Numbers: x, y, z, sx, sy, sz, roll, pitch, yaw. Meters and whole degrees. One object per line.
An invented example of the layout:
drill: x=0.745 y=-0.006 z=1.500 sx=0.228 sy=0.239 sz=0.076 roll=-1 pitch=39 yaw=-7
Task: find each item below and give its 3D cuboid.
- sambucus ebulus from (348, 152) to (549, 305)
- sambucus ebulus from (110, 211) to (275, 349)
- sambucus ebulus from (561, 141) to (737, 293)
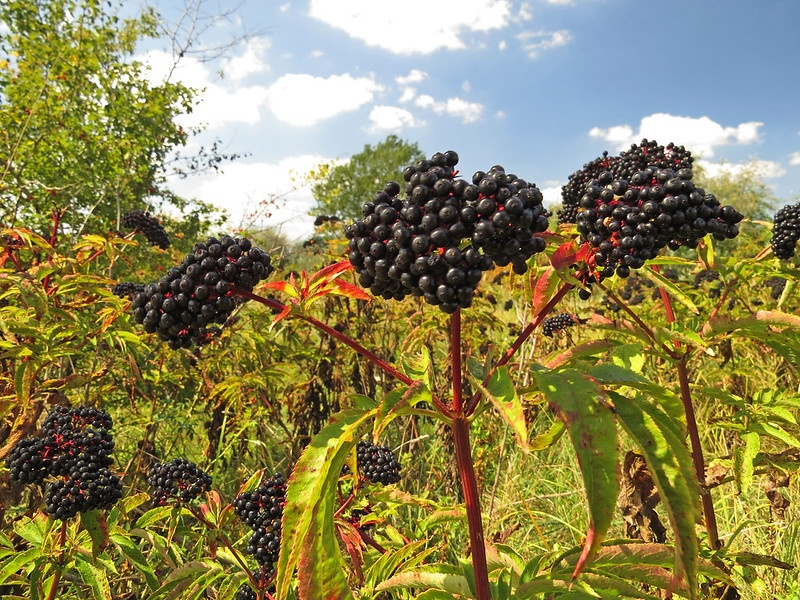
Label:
sambucus ebulus: x=0.385 y=-0.651 z=7.126 sx=1.372 sy=1.619 sz=1.011 roll=47 pitch=-31 yaw=41
sambucus ebulus: x=-1.856 y=-0.090 z=7.308 sx=1.019 sy=1.098 sz=0.511 roll=6 pitch=-27 yaw=24
sambucus ebulus: x=2.448 y=-0.741 z=7.831 sx=1.665 sy=1.585 sz=0.954 roll=-129 pitch=-160 yaw=-58
